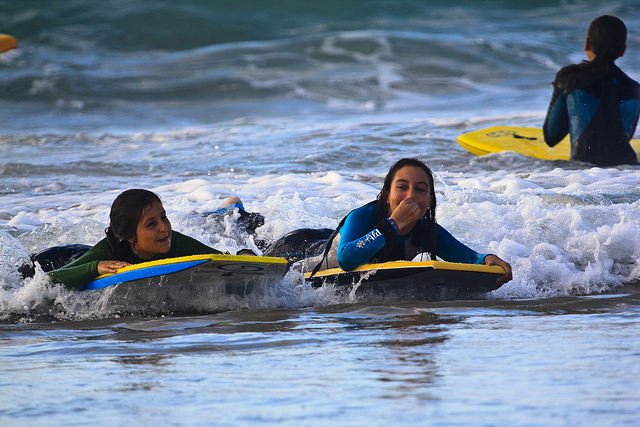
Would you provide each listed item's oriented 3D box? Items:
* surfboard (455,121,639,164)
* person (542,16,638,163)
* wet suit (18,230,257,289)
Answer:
[{"bbox_3d":[4.374,-1.345,18.298,1.184,0.346,3.777,-16,21,-42],"label":"surfboard"},{"bbox_3d":[4.554,-2.045,16.094,1.567,2.519,0.801,-3,15,3],"label":"person"},{"bbox_3d":[-2.817,0.819,13.034,2.055,0.437,1.166,11,-19,-28],"label":"wet suit"}]
